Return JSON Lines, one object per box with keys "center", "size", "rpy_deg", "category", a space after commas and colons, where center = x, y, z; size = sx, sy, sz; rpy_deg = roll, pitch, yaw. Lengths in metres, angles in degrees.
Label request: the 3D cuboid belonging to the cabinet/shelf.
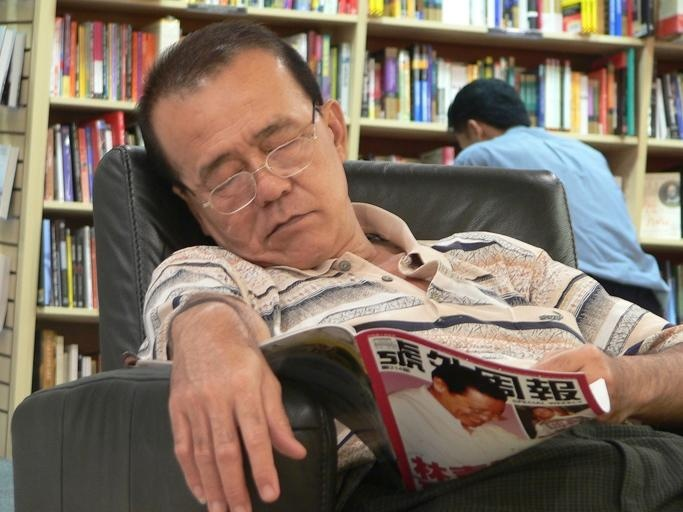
{"center": [-0.277, -0.006, 1.414], "size": [0.658, 0.638, 0.490], "rpy_deg": [-1, -16, -19], "category": "cabinet/shelf"}
